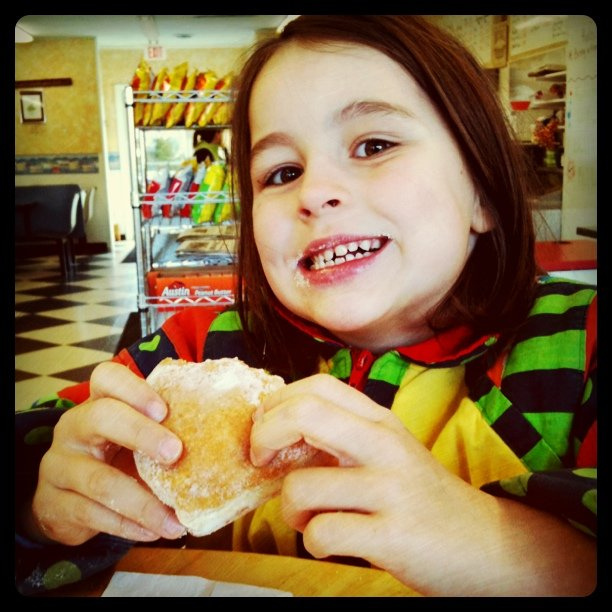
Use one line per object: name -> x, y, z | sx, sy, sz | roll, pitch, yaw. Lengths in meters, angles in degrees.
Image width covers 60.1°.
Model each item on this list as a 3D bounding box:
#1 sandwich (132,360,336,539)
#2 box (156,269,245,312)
sandwich -> -0.125, 0.146, 0.732 | 0.221, 0.074, 0.247 | -18, 51, -33
box -> -0.280, -0.061, 1.301 | 0.246, 0.114, 0.162 | -1, 8, -14
